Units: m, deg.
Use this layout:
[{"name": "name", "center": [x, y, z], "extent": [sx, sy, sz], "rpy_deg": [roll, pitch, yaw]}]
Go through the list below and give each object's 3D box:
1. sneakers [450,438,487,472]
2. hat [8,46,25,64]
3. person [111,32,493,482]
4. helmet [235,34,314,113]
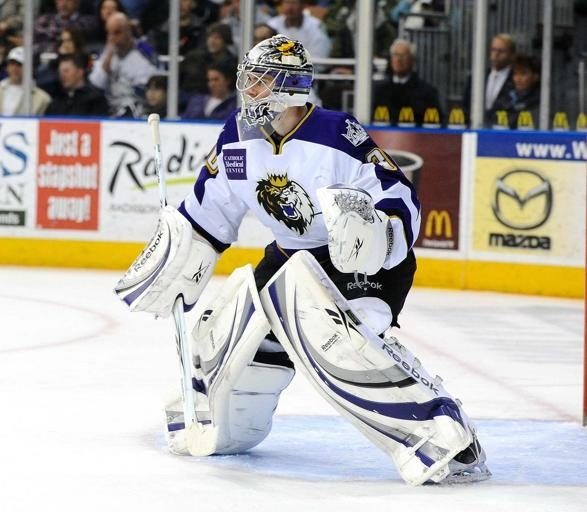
[{"name": "sneakers", "center": [0.633, 0.720, 4.248], "extent": [0.072, 0.138, 0.146], "rpy_deg": [8, 11, 37]}, {"name": "hat", "center": [-2.209, -1.615, 9.494], "extent": [0.122, 0.084, 0.166], "rpy_deg": [4, 9, -5]}, {"name": "person", "center": [0.029, -0.006, 4.322], "extent": [1.292, 1.585, 0.492], "rpy_deg": [7, 11, 33]}, {"name": "helmet", "center": [-0.088, -0.669, 4.392], "extent": [0.314, 0.271, 0.258], "rpy_deg": [-5, 10, -18]}]
